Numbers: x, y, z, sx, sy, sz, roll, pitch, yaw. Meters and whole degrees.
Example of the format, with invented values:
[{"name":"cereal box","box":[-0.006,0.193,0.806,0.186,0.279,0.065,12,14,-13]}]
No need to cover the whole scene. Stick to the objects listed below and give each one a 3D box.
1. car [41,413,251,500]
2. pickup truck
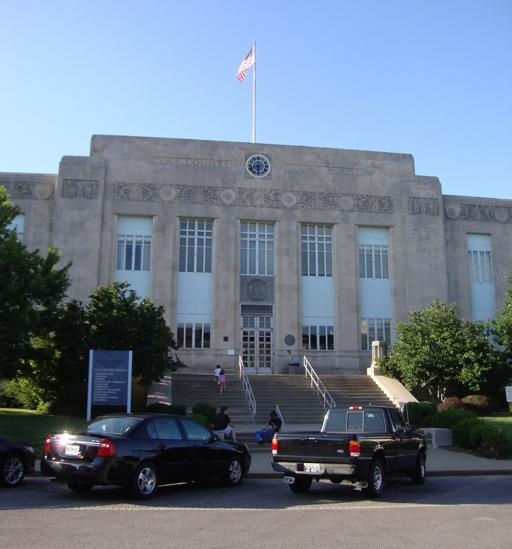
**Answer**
[{"name":"car","box":[-1.718,3.194,11.151,3.536,0.997,1.592,7,-11,-44]},{"name":"pickup truck","box":[2.092,3.370,11.924,1.685,1.094,2.976,-5,-8,37]}]
